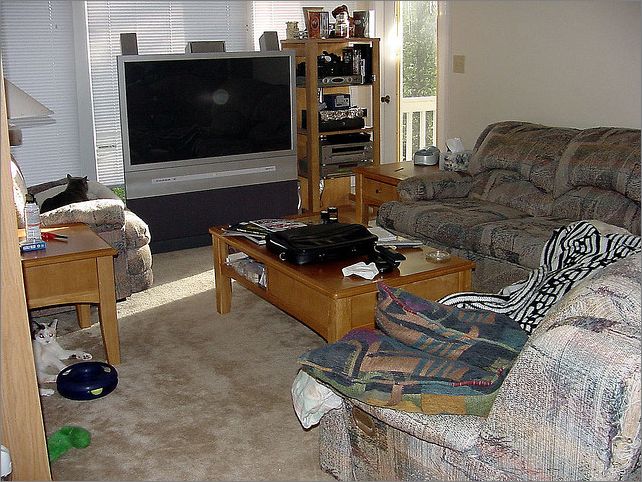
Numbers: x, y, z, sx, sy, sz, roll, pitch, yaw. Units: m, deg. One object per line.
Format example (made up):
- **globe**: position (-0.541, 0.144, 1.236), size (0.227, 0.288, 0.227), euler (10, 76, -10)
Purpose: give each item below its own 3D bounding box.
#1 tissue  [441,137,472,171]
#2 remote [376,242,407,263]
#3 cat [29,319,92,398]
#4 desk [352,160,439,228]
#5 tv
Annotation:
- **tissue **: position (1.069, -0.704, 4.076), size (0.293, 0.246, 0.304), euler (10, 19, 44)
- **remote**: position (0.340, 0.062, 2.528), size (0.089, 0.029, 0.141), euler (-7, 24, -31)
- **cat**: position (-1.305, 0.554, 2.537), size (0.257, 0.331, 0.383), euler (-11, 20, -24)
- **desk**: position (0.696, -0.480, 4.410), size (0.668, 0.539, 0.638), euler (-14, 24, -35)
- **tv**: position (-0.959, -0.990, 4.211), size (1.759, 1.002, 0.070), euler (-6, 12, -26)
